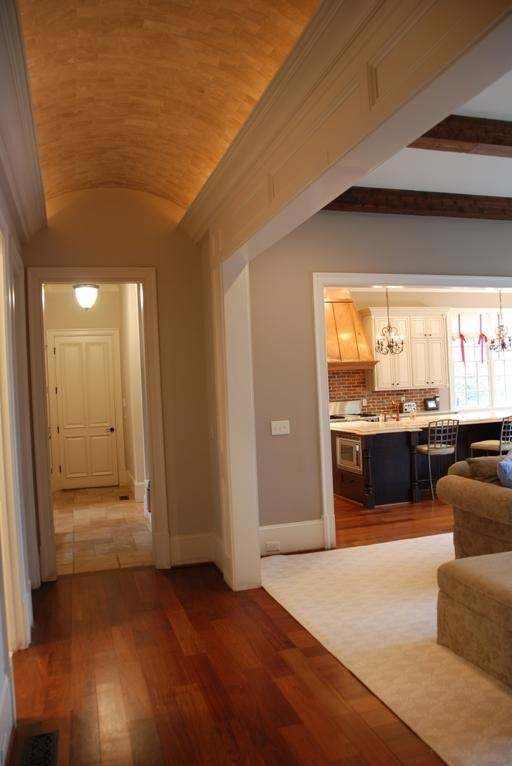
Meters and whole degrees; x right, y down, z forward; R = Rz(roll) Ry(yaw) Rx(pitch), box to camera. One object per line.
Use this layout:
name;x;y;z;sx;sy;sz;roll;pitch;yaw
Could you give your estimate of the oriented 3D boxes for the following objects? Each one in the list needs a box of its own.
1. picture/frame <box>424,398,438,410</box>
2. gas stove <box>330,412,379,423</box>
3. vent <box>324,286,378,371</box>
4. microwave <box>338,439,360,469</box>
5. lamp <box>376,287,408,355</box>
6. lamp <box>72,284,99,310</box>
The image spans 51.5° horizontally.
picture/frame;3.202;0.401;9.856;0.310;0.184;0.298;0;11;-17
gas stove;1.618;0.570;8.780;0.750;0.105;1.491;-3;-3;9
vent;1.508;-0.819;8.571;0.467;1.398;1.349;-1;2;41
microwave;1.140;0.880;6.541;0.272;0.367;0.497;0;0;-14
lamp;2.185;-1.048;8.849;0.461;1.217;1.882;-3;-3;15
lamp;-2.112;-1.095;6.621;0.217;0.299;0.317;-1;-3;-28
